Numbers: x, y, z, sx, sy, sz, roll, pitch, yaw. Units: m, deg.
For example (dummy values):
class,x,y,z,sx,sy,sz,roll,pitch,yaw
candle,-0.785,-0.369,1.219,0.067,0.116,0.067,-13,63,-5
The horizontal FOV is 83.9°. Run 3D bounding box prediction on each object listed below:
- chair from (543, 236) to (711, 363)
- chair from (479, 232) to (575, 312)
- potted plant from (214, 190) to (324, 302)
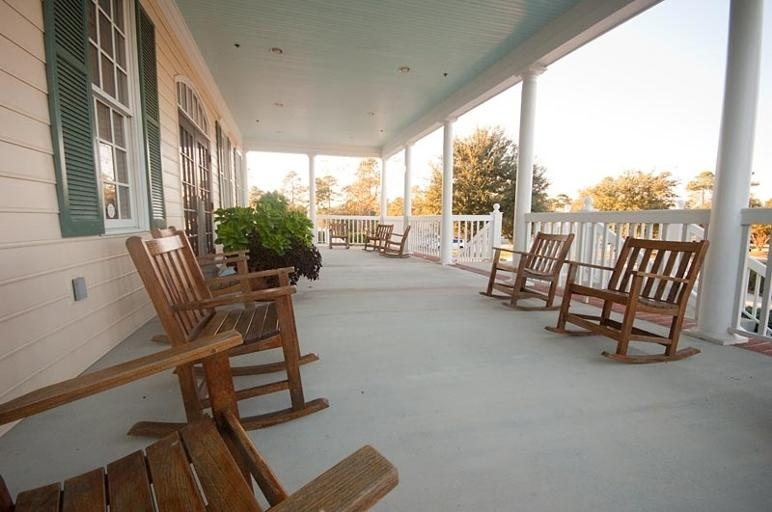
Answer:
class,x,y,z,sx,sy,sz,roll,pitch,yaw
chair,2.066,0.347,3.826,1.187,0.992,0.935,2,7,-9
chair,1.601,0.152,4.966,0.807,0.885,0.742,2,7,-23
potted plant,-1.472,-0.144,5.503,1.120,1.179,1.192,-12,-1,-4
